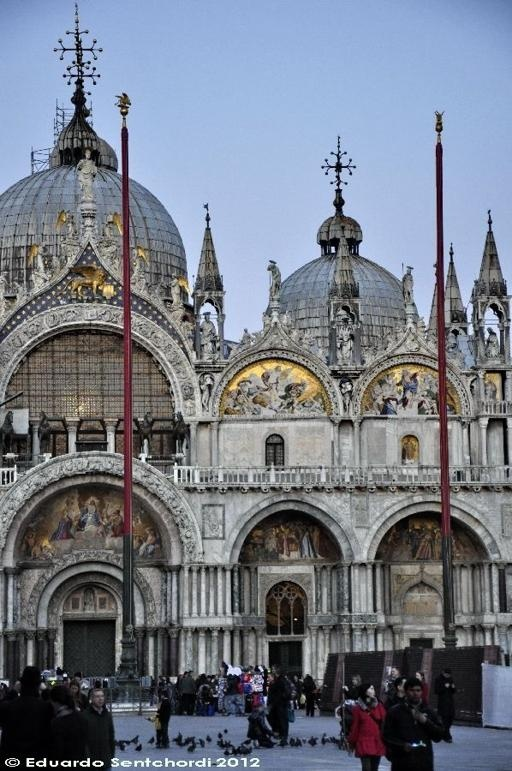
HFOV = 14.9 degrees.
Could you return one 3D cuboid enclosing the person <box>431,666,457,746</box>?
[{"bbox_3d":[4.069,6.809,41.827,0.363,1.548,0.365,4,-10,-30],"label":"person"}]
